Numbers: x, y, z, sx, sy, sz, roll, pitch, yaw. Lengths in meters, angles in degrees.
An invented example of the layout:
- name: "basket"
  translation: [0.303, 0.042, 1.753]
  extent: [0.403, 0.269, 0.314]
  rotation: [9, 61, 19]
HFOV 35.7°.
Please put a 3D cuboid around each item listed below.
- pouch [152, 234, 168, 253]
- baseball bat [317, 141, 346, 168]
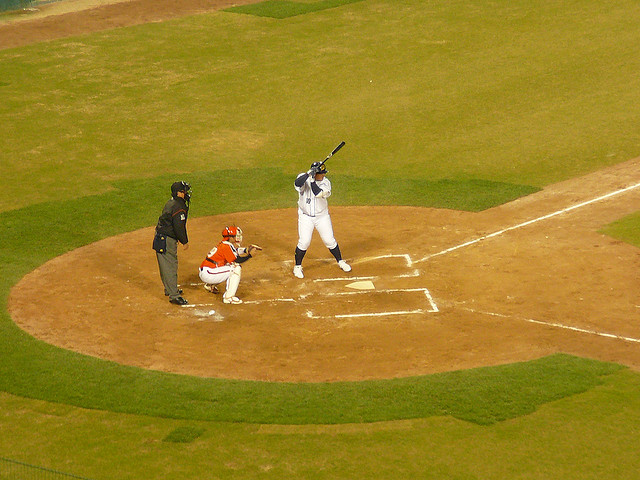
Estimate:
- name: "pouch"
  translation: [-3.660, 0.072, 22.736]
  extent: [0.398, 0.419, 0.302]
  rotation: [8, 36, 10]
- name: "baseball bat"
  translation: [0.190, -2.050, 24.294]
  extent: [0.073, 1.405, 0.132]
  rotation: [-15, 74, -47]
